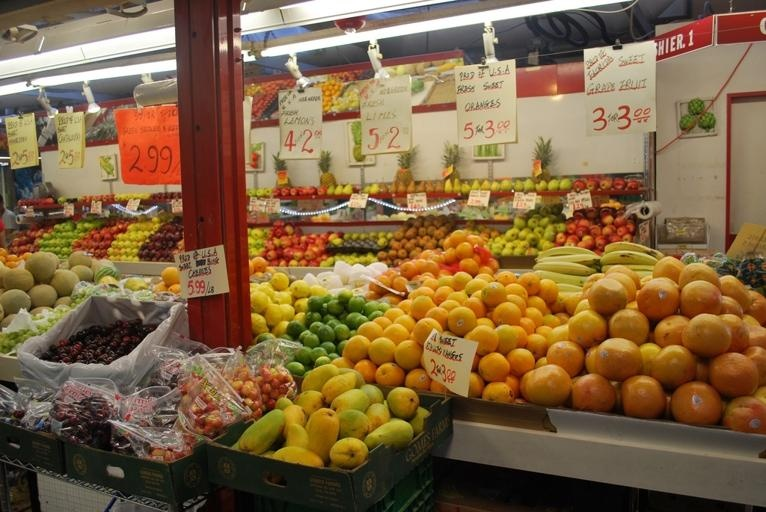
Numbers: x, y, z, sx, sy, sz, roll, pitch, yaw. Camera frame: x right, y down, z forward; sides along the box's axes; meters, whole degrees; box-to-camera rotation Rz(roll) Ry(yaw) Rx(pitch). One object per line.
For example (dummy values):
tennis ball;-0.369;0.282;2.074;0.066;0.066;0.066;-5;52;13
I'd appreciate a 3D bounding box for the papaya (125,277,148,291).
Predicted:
papaya;-2.085;0.240;4.858;0.176;0.064;0.205;-7;15;-11

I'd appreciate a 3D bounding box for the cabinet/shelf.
cabinet/shelf;-0.333;-0.375;6.742;4.481;0.716;1.290;3;13;24

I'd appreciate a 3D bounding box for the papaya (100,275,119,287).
papaya;-2.350;0.218;4.978;0.105;0.072;0.130;4;-2;18
